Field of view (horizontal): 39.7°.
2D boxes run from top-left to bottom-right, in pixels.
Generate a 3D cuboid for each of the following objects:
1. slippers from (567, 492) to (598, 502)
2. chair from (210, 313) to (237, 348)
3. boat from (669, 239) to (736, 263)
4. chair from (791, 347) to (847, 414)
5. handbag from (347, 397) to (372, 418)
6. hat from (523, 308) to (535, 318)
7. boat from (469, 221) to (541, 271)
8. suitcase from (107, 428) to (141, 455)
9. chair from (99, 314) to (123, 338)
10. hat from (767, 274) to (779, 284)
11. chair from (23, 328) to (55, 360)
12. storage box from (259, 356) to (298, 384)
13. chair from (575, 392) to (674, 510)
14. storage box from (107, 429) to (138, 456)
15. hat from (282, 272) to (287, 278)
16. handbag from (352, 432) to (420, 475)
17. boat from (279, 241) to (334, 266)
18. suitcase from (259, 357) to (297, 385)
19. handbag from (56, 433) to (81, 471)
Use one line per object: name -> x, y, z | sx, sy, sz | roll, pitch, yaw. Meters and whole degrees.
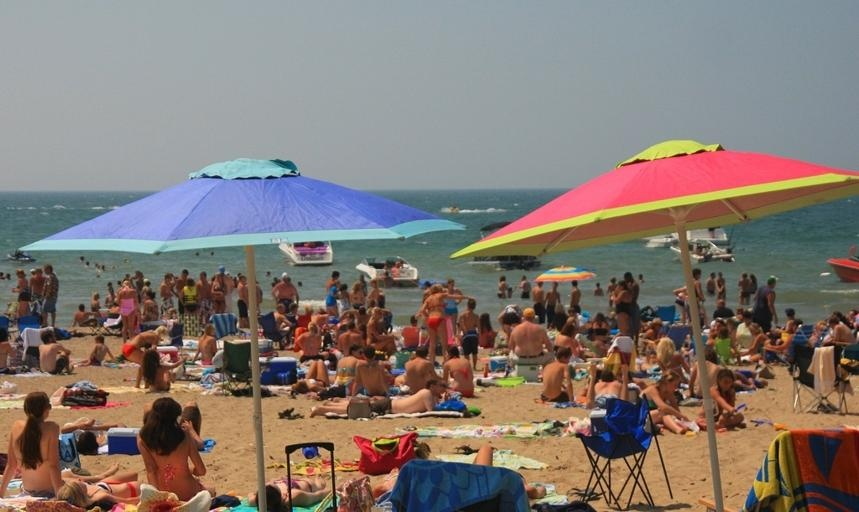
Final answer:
slippers -> 2.894, 4.557, 22.480 | 0.322, 0.226, 0.095 | -4, 39, 19
chair -> -5.570, 1.923, 31.970 | 0.746, 0.663, 0.672 | -2, 17, -6
boat -> 14.600, -0.280, 63.481 | 1.820, 0.914, 3.480 | 2, 6, 1
chair -> 8.653, 2.627, 26.265 | 1.371, 1.915, 1.499 | 1, 4, 18
handbag -> -1.562, 3.316, 26.043 | 0.403, 0.253, 0.407 | 0, -1, 3
hat -> 2.373, 1.362, 28.625 | 0.209, 0.258, 0.258 | 0, -10, -1
boat -> 4.282, -0.336, 63.905 | 5.748, 2.935, 2.036 | 2, 3, 17
suitcase -> -6.140, 3.716, 23.767 | 0.775, 0.674, 0.415 | 2, 5, 1
chair -> -9.320, 2.022, 34.636 | 0.876, 0.622, 0.703 | -2, -1, 41
hat -> 12.682, 0.828, 43.869 | 0.316, 0.244, 0.470 | 3, 17, 36
chair -> -9.732, 2.099, 29.482 | 0.701, 0.748, 0.795 | -2, 14, -16
storage box -> -3.642, 2.726, 28.352 | 0.685, 0.451, 0.668 | 0, -3, -9
chair -> 3.327, 3.857, 23.346 | 2.005, 2.683, 1.890 | 10, -15, -44
storage box -> -6.231, 3.763, 23.988 | 0.630, 0.528, 0.340 | 2, 5, 4
hat -> -5.473, 0.680, 44.326 | 0.175, 0.209, 0.227 | 0, -31, -6
handbag -> -0.851, 3.862, 23.529 | 1.166, 0.669, 0.811 | -4, 5, 6
boat -> -6.973, 0.176, 67.879 | 2.470, 1.526, 7.364 | 1, 5, -14
suitcase -> -3.650, 2.742, 28.396 | 0.677, 0.446, 0.670 | 0, -3, -7
handbag -> -7.020, 3.780, 23.014 | 0.626, 0.642, 0.230 | 1, -6, -14
